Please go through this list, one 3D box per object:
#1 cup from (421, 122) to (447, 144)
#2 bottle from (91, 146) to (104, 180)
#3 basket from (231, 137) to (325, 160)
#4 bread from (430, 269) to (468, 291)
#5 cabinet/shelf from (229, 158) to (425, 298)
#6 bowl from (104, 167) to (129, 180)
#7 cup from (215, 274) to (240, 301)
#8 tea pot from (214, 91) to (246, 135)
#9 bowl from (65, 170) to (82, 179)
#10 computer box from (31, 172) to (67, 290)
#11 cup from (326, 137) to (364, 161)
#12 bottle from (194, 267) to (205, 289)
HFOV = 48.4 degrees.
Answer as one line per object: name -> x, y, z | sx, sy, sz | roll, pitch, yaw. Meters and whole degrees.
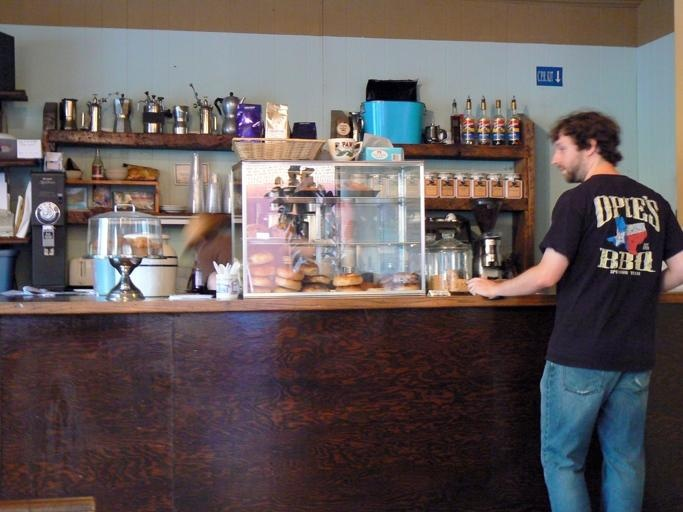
cup -> 0.758, -1.016, 6.278 | 0.223, 0.180, 0.123 | -2, 2, -33
bottle -> -1.974, -0.751, 6.153 | 0.104, 0.259, 0.225 | -3, 6, -17
basket -> -0.338, -0.582, 4.097 | 0.476, 0.117, 0.134 | 0, 6, 7
bread -> 0.558, 0.134, 4.046 | 0.146, 0.078, 0.134 | 1, -3, -15
cabinet/shelf -> -0.169, -0.129, 4.196 | 1.109, 0.713, 0.544 | -1, 1, -29
bowl -> -1.811, -0.664, 6.106 | 0.173, 0.096, 0.085 | -2, 6, -8
cup -> -0.568, 0.150, 3.833 | 0.147, 0.125, 0.100 | -5, 7, -29
tea pot -> -0.924, -1.167, 6.164 | 0.211, 0.368, 0.436 | -2, 6, -10
bowl -> -2.139, -0.652, 6.066 | 0.120, 0.070, 0.059 | -5, 7, -34
computer box -> -2.243, -0.199, 5.829 | 0.268, 0.888, 0.178 | -3, 6, -19
cup -> 0.012, -0.596, 4.220 | 0.207, 0.089, 0.129 | 1, -3, -5
bottle -> -0.863, 0.136, 4.608 | 0.066, 0.149, 0.081 | -3, 6, -12
